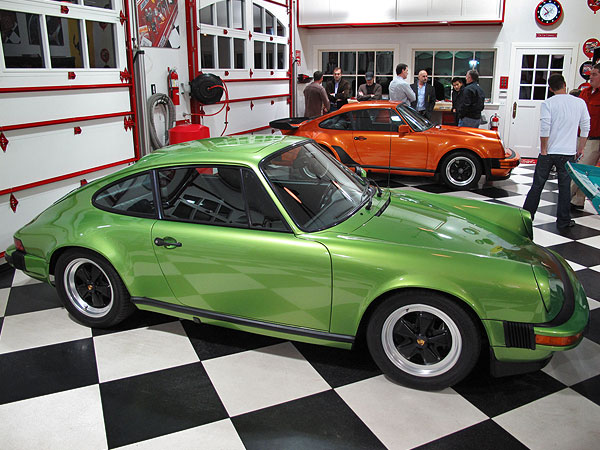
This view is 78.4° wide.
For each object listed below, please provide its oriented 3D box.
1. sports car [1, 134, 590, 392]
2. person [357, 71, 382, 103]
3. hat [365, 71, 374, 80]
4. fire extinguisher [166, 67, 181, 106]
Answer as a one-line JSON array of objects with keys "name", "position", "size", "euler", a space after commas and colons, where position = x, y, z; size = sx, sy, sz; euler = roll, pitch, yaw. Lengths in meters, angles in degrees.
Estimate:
[{"name": "sports car", "position": [0.027, 0.201, 2.894], "size": [3.898, 1.567, 1.046], "euler": [7, 21, 16]}, {"name": "person", "position": [1.884, -3.671, 9.982], "size": [0.650, 0.749, 0.480], "euler": [10, 36, 32]}, {"name": "hat", "position": [1.839, -3.945, 9.806], "size": [0.191, 0.201, 0.227], "euler": [5, 20, 10]}, {"name": "fire extinguisher", "position": [-2.304, -2.511, 6.727], "size": [0.172, 0.636, 0.361], "euler": [-1, 21, -6]}]
